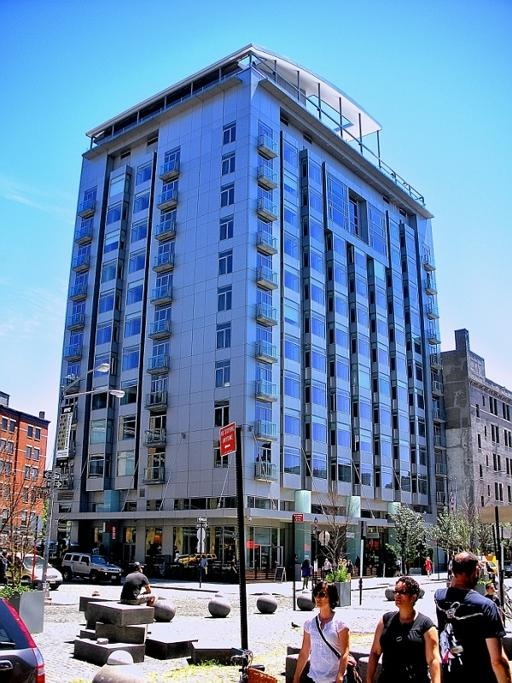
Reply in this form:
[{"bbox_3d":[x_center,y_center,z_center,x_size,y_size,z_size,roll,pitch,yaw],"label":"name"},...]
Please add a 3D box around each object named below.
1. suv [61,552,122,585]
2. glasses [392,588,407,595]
[{"bbox_3d":[-9.802,13.537,35.889,3.772,1.516,1.861,-16,-28,40],"label":"suv"},{"bbox_3d":[1.079,1.814,4.358,0.071,0.023,0.075,-14,-26,42],"label":"glasses"}]
